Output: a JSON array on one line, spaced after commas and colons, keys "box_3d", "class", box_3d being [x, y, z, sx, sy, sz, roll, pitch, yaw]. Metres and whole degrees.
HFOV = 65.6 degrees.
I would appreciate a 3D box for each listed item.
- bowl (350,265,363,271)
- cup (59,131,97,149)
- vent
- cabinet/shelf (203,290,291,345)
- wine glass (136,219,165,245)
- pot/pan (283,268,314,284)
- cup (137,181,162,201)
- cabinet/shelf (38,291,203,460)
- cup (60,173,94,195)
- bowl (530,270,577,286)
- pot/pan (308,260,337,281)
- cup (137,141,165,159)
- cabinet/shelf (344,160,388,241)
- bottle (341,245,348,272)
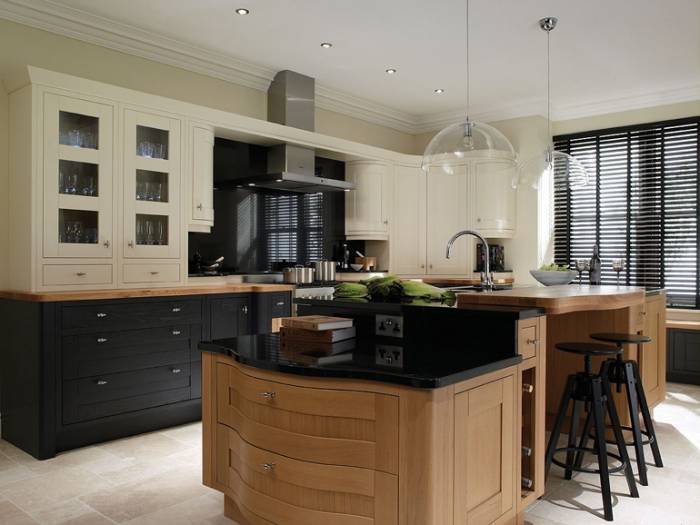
[{"box_3d": [0.061, 0.059, 6.288, 0.147, 0.076, 0.082, 3, 6, 32], "class": "bowl"}, {"box_3d": [-2.018, -0.914, 4.043, 0.144, 0.099, 0.139, 0, -2, 0], "class": "cup"}, {"box_3d": [-0.810, -1.333, 5.648, 1.360, 1.214, 1.167, 2, -3, -41], "class": "vent"}, {"box_3d": [-0.869, 0.432, 4.705, 0.106, 0.381, 0.931, 4, 7, 41], "class": "cabinet/shelf"}, {"box_3d": [-1.634, -0.247, 4.407, 0.102, 0.175, 0.200, -7, -8, 38], "class": "wine glass"}, {"box_3d": [-0.519, 0.127, 5.360, 0.182, 0.113, 0.215, -1, -2, 38], "class": "pot/pan"}, {"box_3d": [-1.635, -0.575, 4.406, 0.153, 0.164, 0.149, 1, -6, 0], "class": "cup"}, {"box_3d": [-1.694, 0.742, 4.218, 1.245, 1.100, 0.476, -2, 6, -43], "class": "cabinet/shelf"}, {"box_3d": [-2.037, -0.555, 4.050, 0.140, 0.166, 0.261, -4, -4, 39], "class": "cup"}, {"box_3d": [1.629, 0.128, 4.308, 0.322, 0.129, 0.334, 0, 5, 0], "class": "bowl"}, {"box_3d": [-0.289, 0.096, 5.747, 0.245, 0.166, 0.185, -2, -4, 33], "class": "pot/pan"}, {"box_3d": [-1.624, -0.914, 4.413, 0.131, 0.090, 0.144, 0, -5, -19], "class": "cup"}, {"box_3d": [0.236, -0.716, 6.533, 0.655, 0.947, 0.640, 1, 1, 41], "class": "cabinet/shelf"}, {"box_3d": [-0.061, -0.069, 6.373, 0.089, 0.297, 0.142, 0, 5, -1], "class": "bottle"}]
